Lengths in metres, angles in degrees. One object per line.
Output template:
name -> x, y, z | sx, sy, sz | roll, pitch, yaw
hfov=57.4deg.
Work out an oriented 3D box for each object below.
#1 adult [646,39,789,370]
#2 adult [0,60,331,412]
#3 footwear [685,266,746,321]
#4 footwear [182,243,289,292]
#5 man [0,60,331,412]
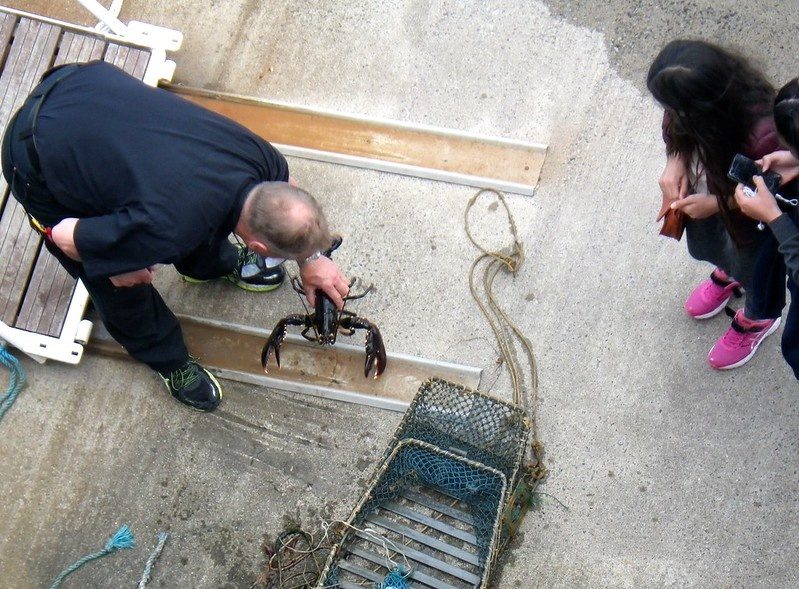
adult -> 2.080, -0.472, 4.766 | 0.806, 2.269, 0.762 | -37, 58, 8
adult -> -1.695, -0.255, 5.095 | 1.703, 1.911, 1.105 | 42, 71, -29
footwear -> 2.318, 0.026, 5.417 | 0.571, 0.265, 0.221 | -37, 85, 9
footwear -> -1.300, -0.284, 5.749 | 0.829, 0.374, 0.308 | 7, 37, -10
man -> -1.695, -0.255, 5.095 | 1.703, 1.911, 1.105 | 42, 71, -29
